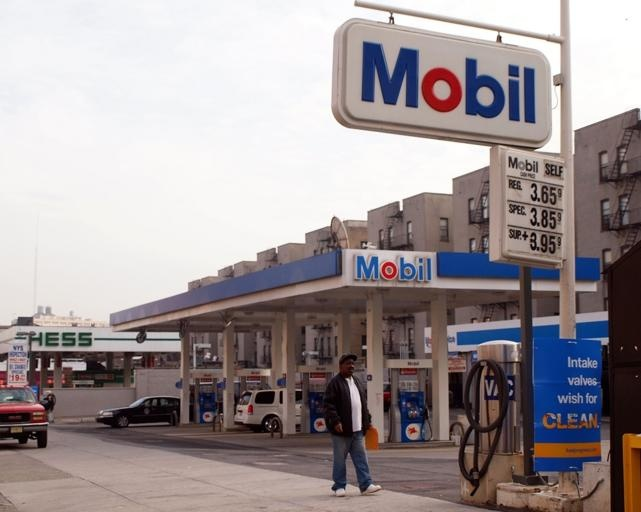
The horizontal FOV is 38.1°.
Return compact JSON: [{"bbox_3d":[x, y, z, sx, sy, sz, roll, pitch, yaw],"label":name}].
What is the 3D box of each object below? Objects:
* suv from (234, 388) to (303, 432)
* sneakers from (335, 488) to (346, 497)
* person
[{"bbox_3d":[-1.964,5.991,36.589,2.632,1.492,1.604,-5,-4,-19],"label":"suv"},{"bbox_3d":[0.327,3.837,15.058,0.168,0.136,0.210,-1,-12,-2],"label":"sneakers"},{"bbox_3d":[0.485,2.804,15.434,0.852,2.312,0.645,1,-9,-10],"label":"person"}]
